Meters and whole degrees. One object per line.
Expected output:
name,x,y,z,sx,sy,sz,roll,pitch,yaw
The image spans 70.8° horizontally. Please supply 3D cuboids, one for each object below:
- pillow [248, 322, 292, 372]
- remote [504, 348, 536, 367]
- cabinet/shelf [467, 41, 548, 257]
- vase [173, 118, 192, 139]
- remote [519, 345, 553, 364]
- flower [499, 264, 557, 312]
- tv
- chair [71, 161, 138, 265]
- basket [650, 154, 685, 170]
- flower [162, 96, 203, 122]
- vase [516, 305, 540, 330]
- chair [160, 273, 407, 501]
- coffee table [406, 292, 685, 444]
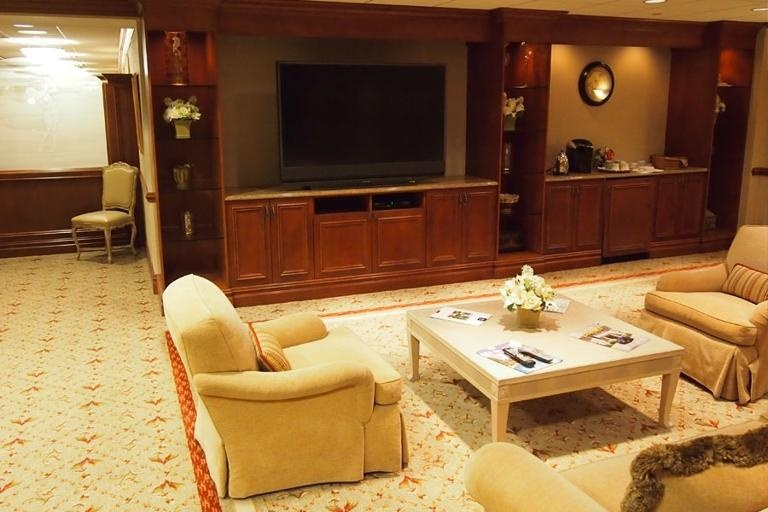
pillow,-0.727,0.607,3.438,0.230,0.203,0.518,-4,14,-21
remote,0.942,0.704,3.753,0.090,0.036,0.157,-10,32,-37
cabinet/shelf,1.559,-1.350,6.868,1.034,2.644,0.729,0,16,11
vase,-2.174,-1.371,5.819,0.236,0.202,0.212,-3,14,-15
remote,1.064,0.690,3.799,0.097,0.036,0.160,-10,16,-28
flower,1.141,0.252,4.271,0.384,0.342,0.374,-10,14,-31
tv,-0.349,-1.565,6.266,1.682,1.027,0.118,-3,16,-13
chair,-4.047,-0.671,7.963,0.679,1.332,0.928,2,17,19
basket,4.077,-1.326,7.648,0.508,0.176,0.453,0,15,10
flower,-2.205,-1.605,5.894,0.370,0.259,0.352,-6,15,-10
vase,1.118,0.484,4.186,0.205,0.141,0.173,1,10,5
chair,-0.660,0.769,3.756,1.688,1.259,1.271,-7,21,-21
coffee table,1.269,0.700,3.924,1.324,0.471,1.194,-5,18,-17
